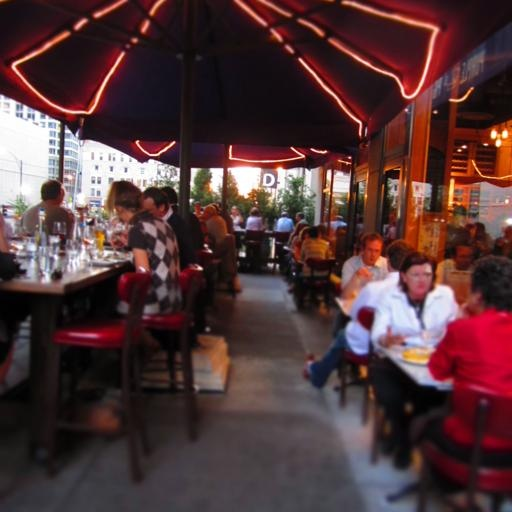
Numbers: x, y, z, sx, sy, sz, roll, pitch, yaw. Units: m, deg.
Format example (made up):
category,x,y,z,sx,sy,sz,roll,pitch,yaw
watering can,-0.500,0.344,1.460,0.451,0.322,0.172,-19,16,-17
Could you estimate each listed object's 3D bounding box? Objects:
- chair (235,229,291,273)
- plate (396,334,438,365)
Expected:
category,x,y,z,sx,sy,sz,roll,pitch,yaw
chair,0.211,-0.173,11.942,1.374,0.978,1.066,2,12,0
plate,0.833,0.501,2.291,0.152,0.039,0.393,5,5,24
